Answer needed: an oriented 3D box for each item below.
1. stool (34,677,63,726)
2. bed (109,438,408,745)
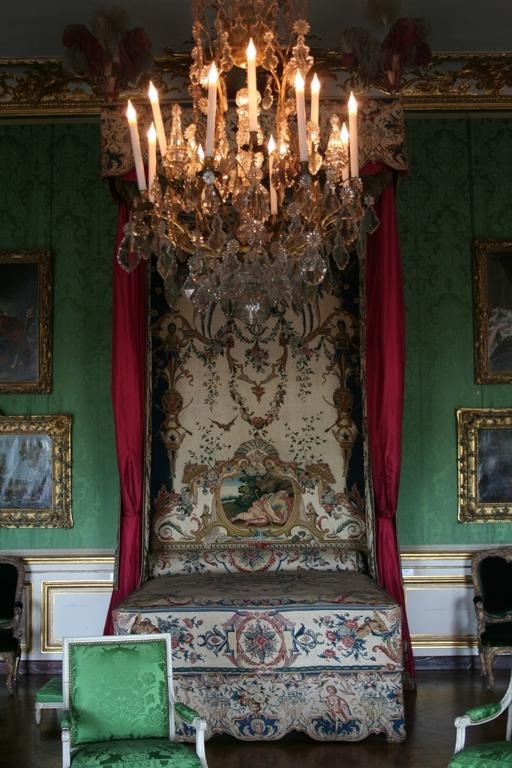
[{"bbox_3d":[-1.070,1.638,4.646,0.134,0.181,0.257,-2,2,-14],"label":"stool"},{"bbox_3d":[0.057,1.127,4.856,1.245,1.190,1.222,-1,-10,3],"label":"bed"}]
